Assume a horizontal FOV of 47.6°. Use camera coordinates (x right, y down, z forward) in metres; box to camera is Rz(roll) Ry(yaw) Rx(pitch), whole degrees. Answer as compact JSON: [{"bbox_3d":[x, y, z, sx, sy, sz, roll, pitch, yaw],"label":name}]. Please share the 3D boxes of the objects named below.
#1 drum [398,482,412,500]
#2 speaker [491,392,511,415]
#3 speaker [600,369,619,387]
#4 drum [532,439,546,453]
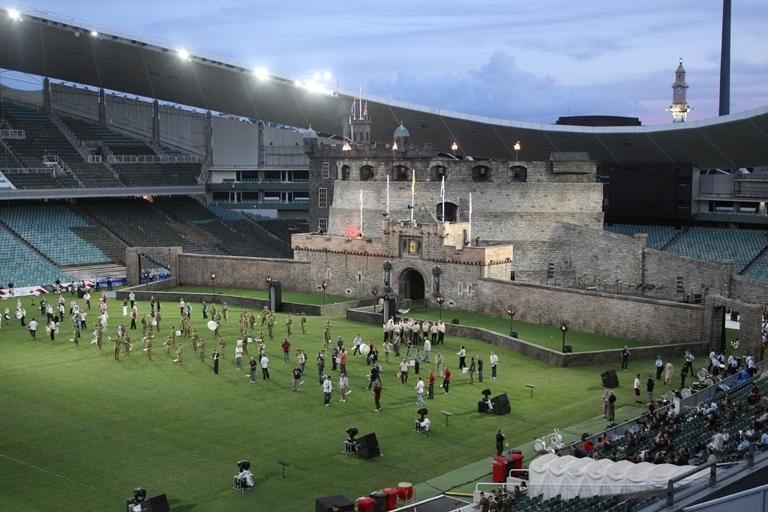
[{"bbox_3d":[1.043,13.067,48.544,0.885,0.734,0.891,8,12,41],"label":"drum"},{"bbox_3d":[7.620,10.012,59.632,1.726,1.549,1.288,-10,-10,44],"label":"speaker"},{"bbox_3d":[16.595,8.882,63.981,1.246,1.301,1.289,-7,13,-38],"label":"speaker"},{"bbox_3d":[9.533,11.515,53.184,0.927,0.854,0.645,0,1,19],"label":"drum"}]
